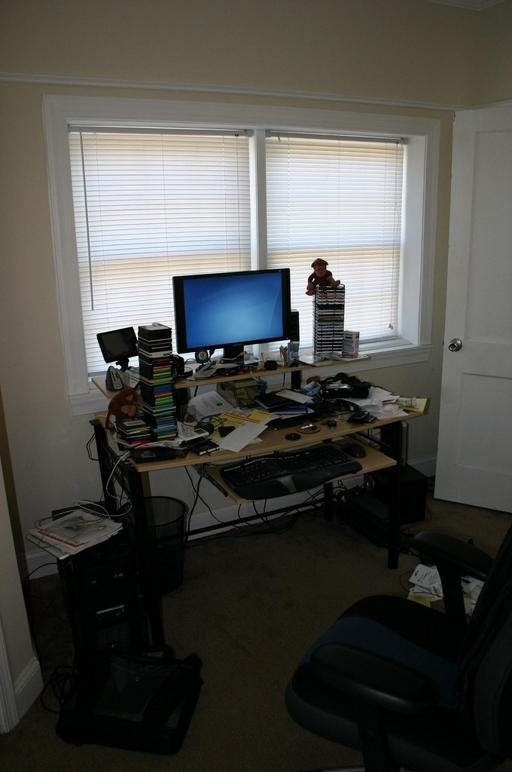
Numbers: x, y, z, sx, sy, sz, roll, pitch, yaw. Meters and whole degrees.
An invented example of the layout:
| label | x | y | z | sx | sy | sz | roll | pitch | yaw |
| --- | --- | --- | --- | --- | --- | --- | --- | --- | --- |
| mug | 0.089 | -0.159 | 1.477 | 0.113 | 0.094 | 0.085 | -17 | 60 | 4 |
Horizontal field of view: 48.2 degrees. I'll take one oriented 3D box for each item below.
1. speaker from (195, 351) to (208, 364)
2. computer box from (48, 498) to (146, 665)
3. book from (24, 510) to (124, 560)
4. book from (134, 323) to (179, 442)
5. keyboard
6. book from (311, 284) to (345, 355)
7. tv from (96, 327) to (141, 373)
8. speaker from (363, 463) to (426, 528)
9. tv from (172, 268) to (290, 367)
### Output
| label | x | y | z | sx | sy | sz | roll | pitch | yaw |
| --- | --- | --- | --- | --- | --- | --- | --- | --- | --- |
| speaker | -0.233 | -0.129 | 2.483 | 0.052 | 0.053 | 0.017 | 13 | -2 | -33 |
| computer box | -0.561 | 0.781 | 2.153 | 0.226 | 0.450 | 0.325 | -9 | 17 | -16 |
| book | -0.664 | 0.539 | 2.127 | 0.225 | 0.055 | 0.218 | 11 | 13 | 24 |
| book | -0.375 | -0.020 | 2.189 | 0.124 | 0.431 | 0.173 | -5 | 14 | -16 |
| keyboard | 0.157 | 0.333 | 2.314 | 0.611 | 0.074 | 0.327 | -8 | 16 | -25 |
| book | 0.346 | -0.305 | 2.706 | 0.146 | 0.342 | 0.097 | 0 | 13 | 7 |
| tv | -0.593 | -0.164 | 2.466 | 0.158 | 0.199 | 0.064 | -23 | 25 | -37 |
| speaker | 0.732 | 0.535 | 3.197 | 0.331 | 0.341 | 0.331 | -10 | 19 | -22 |
| tv | -0.104 | -0.303 | 2.525 | 0.443 | 0.277 | 0.059 | -11 | 23 | -29 |
